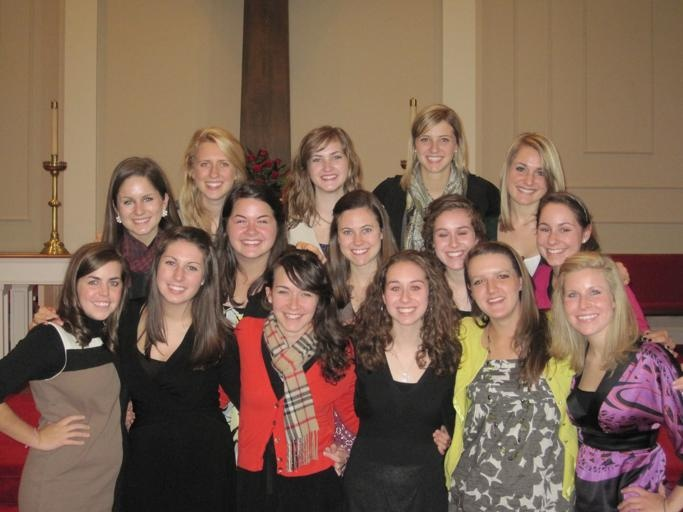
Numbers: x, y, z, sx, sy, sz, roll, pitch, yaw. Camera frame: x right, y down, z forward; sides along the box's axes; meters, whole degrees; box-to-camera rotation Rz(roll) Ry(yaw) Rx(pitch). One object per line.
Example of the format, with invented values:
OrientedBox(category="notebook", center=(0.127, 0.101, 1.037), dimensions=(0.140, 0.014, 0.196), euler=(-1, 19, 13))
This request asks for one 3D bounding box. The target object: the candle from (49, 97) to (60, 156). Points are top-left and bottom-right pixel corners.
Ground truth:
OrientedBox(category="candle", center=(-2.865, -1.221, 6.378), dimensions=(0.092, 0.567, 0.090), euler=(8, 12, 13))

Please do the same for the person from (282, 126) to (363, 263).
OrientedBox(category="person", center=(-0.128, -0.450, 4.712), dimensions=(0.538, 0.951, 0.397), euler=(9, 12, 21))

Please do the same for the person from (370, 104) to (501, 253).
OrientedBox(category="person", center=(0.709, -0.529, 4.720), dimensions=(1.255, 1.071, 0.568), euler=(7, 12, 22))
